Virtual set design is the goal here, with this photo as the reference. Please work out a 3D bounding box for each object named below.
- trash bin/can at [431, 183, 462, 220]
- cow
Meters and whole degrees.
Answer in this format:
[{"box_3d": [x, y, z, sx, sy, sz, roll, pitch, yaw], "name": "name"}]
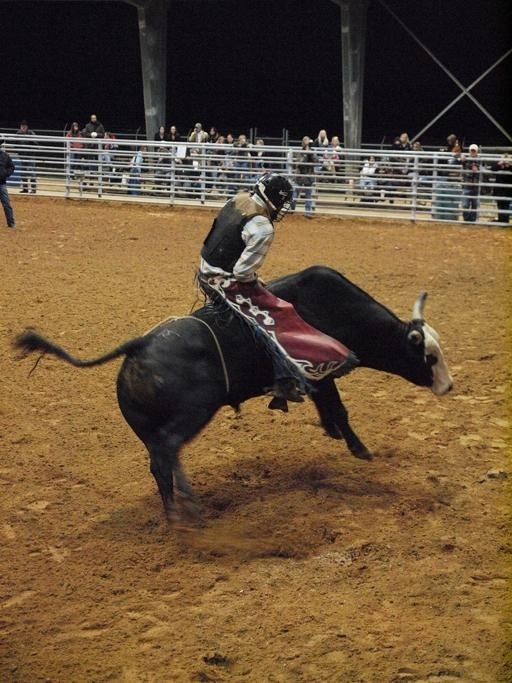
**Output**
[{"box_3d": [4.360, -3.196, 14.338, 0.857, 0.989, 0.802, 0, 13, 11], "name": "trash bin/can"}, {"box_3d": [0.060, 0.321, 3.829, 2.274, 1.456, 0.744, -12, 16, -30], "name": "cow"}]
